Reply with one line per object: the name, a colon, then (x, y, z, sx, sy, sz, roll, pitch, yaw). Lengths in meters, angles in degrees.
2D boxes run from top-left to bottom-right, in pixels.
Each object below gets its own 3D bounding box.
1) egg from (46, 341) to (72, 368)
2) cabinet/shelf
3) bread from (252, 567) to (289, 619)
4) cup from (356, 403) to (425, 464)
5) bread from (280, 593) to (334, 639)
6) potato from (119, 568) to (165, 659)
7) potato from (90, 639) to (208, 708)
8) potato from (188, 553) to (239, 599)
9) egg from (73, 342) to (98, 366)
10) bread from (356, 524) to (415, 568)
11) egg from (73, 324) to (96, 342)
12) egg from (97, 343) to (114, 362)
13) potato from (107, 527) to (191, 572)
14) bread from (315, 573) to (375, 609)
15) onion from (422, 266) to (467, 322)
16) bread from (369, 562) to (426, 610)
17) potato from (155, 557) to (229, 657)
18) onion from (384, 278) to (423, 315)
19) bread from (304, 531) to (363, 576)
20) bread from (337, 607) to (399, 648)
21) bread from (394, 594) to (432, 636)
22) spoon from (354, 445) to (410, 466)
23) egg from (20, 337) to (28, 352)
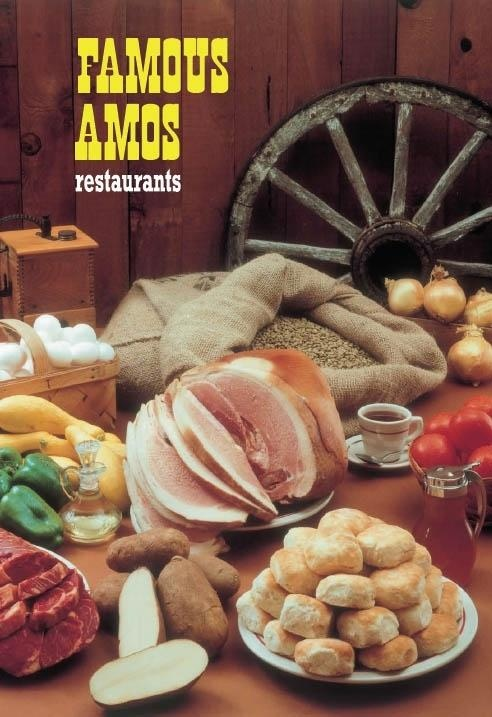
egg: (-0.325, -0.008, 1.156, 0.035, 0.048, 0.036, -17, -10, 7)
cabinet/shelf: (-0.481, -0.212, 1.683, 0.246, 0.277, 0.278, -5, 22, -18)
bread: (0.023, 0.232, 0.642, 0.020, 0.036, 0.039, -25, 6, 0)
cup: (0.252, 0.118, 1.150, 0.123, 0.090, 0.097, -2, 9, -10)
bread: (0.054, 0.233, 0.614, 0.040, 0.031, 0.042, 22, -19, 2)
potato: (-0.100, 0.246, 0.639, 0.044, 0.087, 0.022, -21, -41, 16)
potato: (-0.080, 0.270, 0.562, 0.094, 0.022, 0.046, -9, 33, -20)
potato: (-0.032, 0.251, 0.754, 0.042, 0.038, 0.084, 9, -15, -22)
egg: (-0.288, -0.010, 1.185, 0.034, 0.036, 0.046, -18, 6, 34)
bread: (0.137, 0.185, 0.652, 0.044, 0.023, 0.045, -17, 15, -24)
egg: (-0.307, -0.052, 1.284, 0.031, 0.041, 0.033, -25, -6, 4)
egg: (-0.264, -0.014, 1.252, 0.025, 0.034, 0.027, -4, -15, 4)
potato: (-0.105, 0.211, 0.753, 0.091, 0.043, 0.044, -15, 42, 23)
bread: (0.091, 0.212, 0.599, 0.038, 0.019, 0.037, 2, -8, -22)
onion: (0.539, -0.182, 1.823, 0.118, 0.162, 0.117, -18, 16, -35)
bread: (0.141, 0.212, 0.617, 0.039, 0.017, 0.041, 3, 36, 29)
potato: (-0.058, 0.245, 0.660, 0.060, 0.044, 0.112, 6, 26, -33)
onion: (0.444, -0.175, 1.860, 0.122, 0.103, 0.069, 4, 8, 32)
bread: (0.084, 0.188, 0.633, 0.040, 0.018, 0.042, 2, 40, 15)
bread: (0.109, 0.241, 0.589, 0.041, 0.023, 0.044, -3, -4, 17)
bread: (0.165, 0.245, 0.630, 0.020, 0.034, 0.053, 6, 9, 42)
spoon: (0.220, 0.172, 1.147, 0.122, 0.024, 0.034, 10, -16, 11)
egg: (-0.392, -0.025, 1.168, 0.009, 0.022, 0.020, -24, 22, -39)
